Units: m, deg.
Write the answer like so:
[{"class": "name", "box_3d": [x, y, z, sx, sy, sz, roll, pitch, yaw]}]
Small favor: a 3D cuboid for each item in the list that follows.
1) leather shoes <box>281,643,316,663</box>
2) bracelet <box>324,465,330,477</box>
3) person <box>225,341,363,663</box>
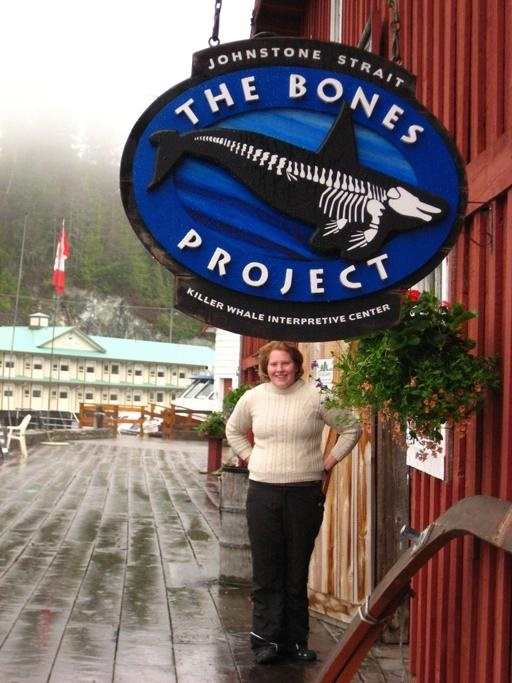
[{"class": "leather shoes", "box_3d": [0.214, 1.529, 3.534, 0.144, 0.142, 0.069, -7, -17, 19]}, {"class": "bracelet", "box_3d": [0.361, 0.642, 3.578, 0.022, 0.048, 0.068, 0, -12, -4]}, {"class": "person", "box_3d": [0.160, 0.807, 3.521, 0.582, 1.600, 0.634, 3, -3, -10]}]
